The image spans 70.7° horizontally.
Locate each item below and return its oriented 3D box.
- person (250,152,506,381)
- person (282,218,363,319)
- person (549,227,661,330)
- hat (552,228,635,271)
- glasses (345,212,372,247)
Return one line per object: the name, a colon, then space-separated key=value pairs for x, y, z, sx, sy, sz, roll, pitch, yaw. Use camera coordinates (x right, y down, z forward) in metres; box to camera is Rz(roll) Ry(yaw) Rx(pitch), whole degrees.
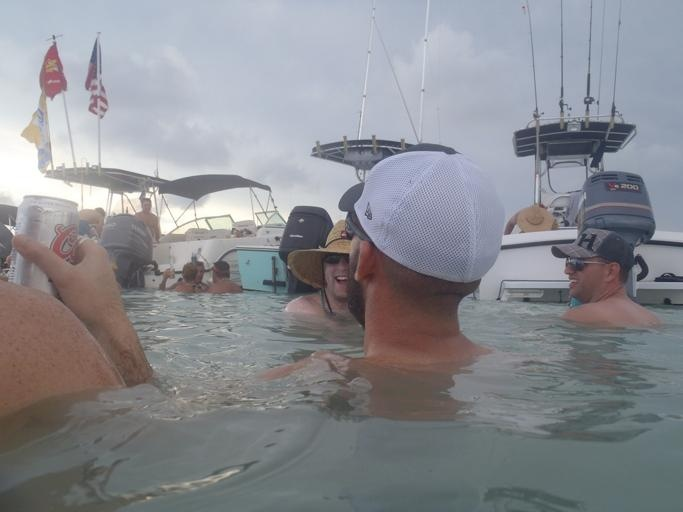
person: x=0.260 y=0.036 z=2.065 sx=0.794 sy=0.885 sz=1.212 roll=2 pitch=-5 yaw=36
person: x=-0.177 y=0.245 z=5.108 sx=0.693 sy=0.400 sz=1.020 roll=-5 pitch=-25 yaw=22
person: x=2.324 y=0.175 z=4.429 sx=0.795 sy=0.878 sz=0.908 roll=5 pitch=-11 yaw=20
hat: x=2.361 y=-0.033 z=4.541 sx=0.590 sy=0.356 sz=0.382 roll=8 pitch=-5 yaw=23
glasses: x=0.053 y=-0.095 z=1.926 sx=0.097 sy=0.060 sz=0.130 roll=1 pitch=40 yaw=-42
